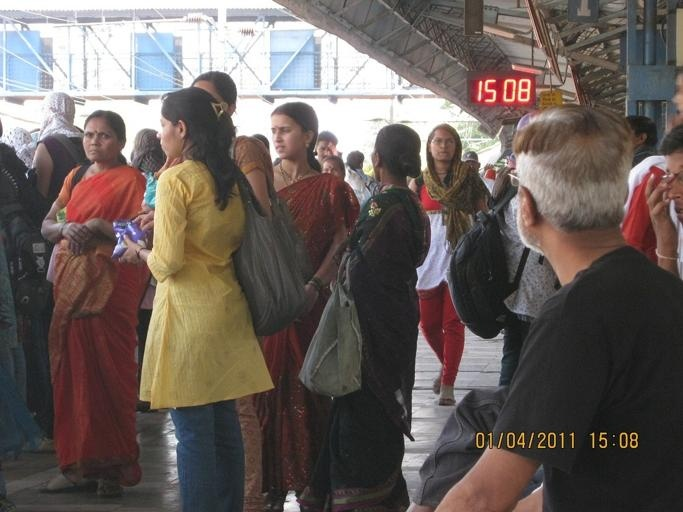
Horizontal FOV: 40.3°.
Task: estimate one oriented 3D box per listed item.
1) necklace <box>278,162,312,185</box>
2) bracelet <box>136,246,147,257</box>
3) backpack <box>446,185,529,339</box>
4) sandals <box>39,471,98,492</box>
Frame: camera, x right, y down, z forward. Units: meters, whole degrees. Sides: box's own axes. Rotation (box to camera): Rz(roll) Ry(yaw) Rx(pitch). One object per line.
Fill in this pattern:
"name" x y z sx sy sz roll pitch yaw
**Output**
"necklace" -0.289 -0.444 5.182 0.100 0.147 0.053 -11 -3 26
"bracelet" -0.928 -0.019 4.325 0.011 0.042 0.041 -28 30 12
"backpack" 0.771 0.064 4.692 0.409 0.741 0.448 -1 -5 13
"sandals" -1.503 1.255 5.127 0.355 0.147 0.111 5 -16 -1
